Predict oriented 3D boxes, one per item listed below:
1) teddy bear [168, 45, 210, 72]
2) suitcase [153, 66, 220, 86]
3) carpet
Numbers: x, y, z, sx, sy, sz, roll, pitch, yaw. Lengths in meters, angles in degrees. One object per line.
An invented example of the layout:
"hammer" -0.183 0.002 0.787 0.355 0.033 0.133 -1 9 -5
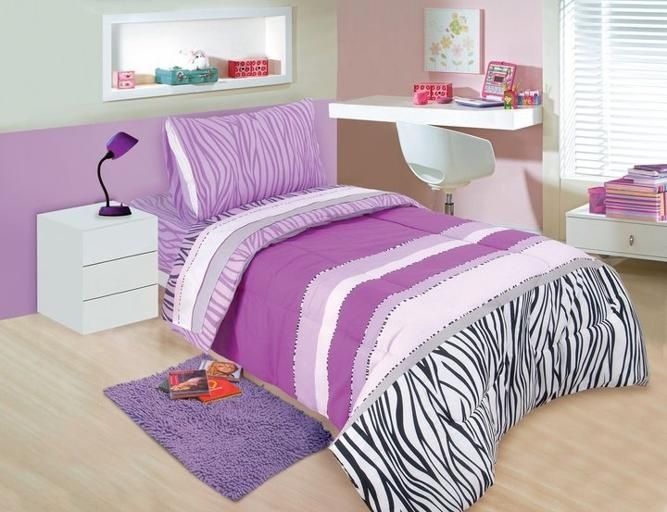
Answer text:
"teddy bear" -0.884 -1.218 3.642 0.209 0.078 0.156 2 22 -11
"suitcase" -0.887 -1.096 3.577 0.390 0.104 0.221 -8 19 -15
"carpet" -0.462 0.646 2.356 0.523 0.080 0.882 -20 25 -41
